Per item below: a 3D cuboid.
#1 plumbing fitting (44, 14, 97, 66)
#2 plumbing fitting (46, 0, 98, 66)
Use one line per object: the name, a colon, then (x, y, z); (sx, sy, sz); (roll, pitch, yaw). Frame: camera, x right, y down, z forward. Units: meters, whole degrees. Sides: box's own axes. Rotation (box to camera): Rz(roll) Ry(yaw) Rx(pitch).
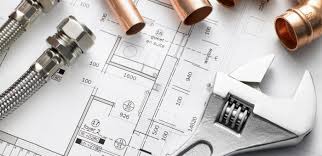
plumbing fitting: (-0.537, -0.233, 2.172); (0.235, 0.264, 0.281); (27, -79, -44)
plumbing fitting: (-0.488, -0.257, 2.184); (0.298, 0.308, 0.257); (-42, 5, -5)
